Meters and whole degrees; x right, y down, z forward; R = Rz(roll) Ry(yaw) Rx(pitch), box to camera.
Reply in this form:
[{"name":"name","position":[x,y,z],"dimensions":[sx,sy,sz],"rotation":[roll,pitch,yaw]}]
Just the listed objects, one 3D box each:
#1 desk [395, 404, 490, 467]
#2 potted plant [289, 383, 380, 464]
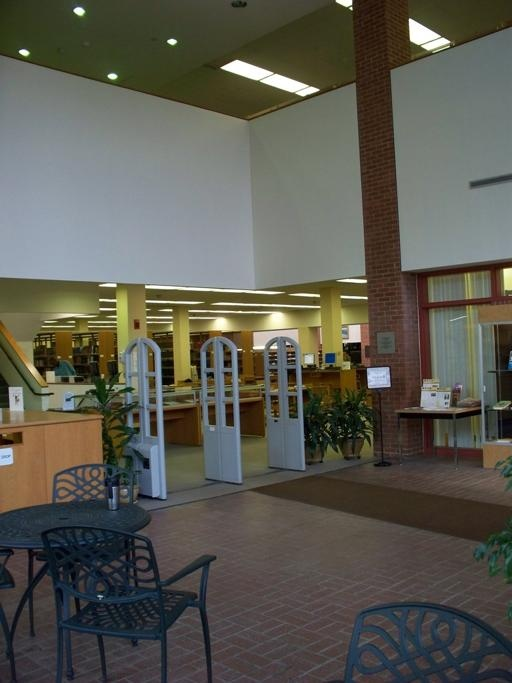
[{"name":"desk","position":[2.650,1.303,7.650],"dimensions":[1.355,0.812,1.340],"rotation":[-10,-17,32]},{"name":"potted plant","position":[1.100,1.259,8.260],"dimensions":[1.360,0.980,1.101],"rotation":[-2,1,-33]}]
